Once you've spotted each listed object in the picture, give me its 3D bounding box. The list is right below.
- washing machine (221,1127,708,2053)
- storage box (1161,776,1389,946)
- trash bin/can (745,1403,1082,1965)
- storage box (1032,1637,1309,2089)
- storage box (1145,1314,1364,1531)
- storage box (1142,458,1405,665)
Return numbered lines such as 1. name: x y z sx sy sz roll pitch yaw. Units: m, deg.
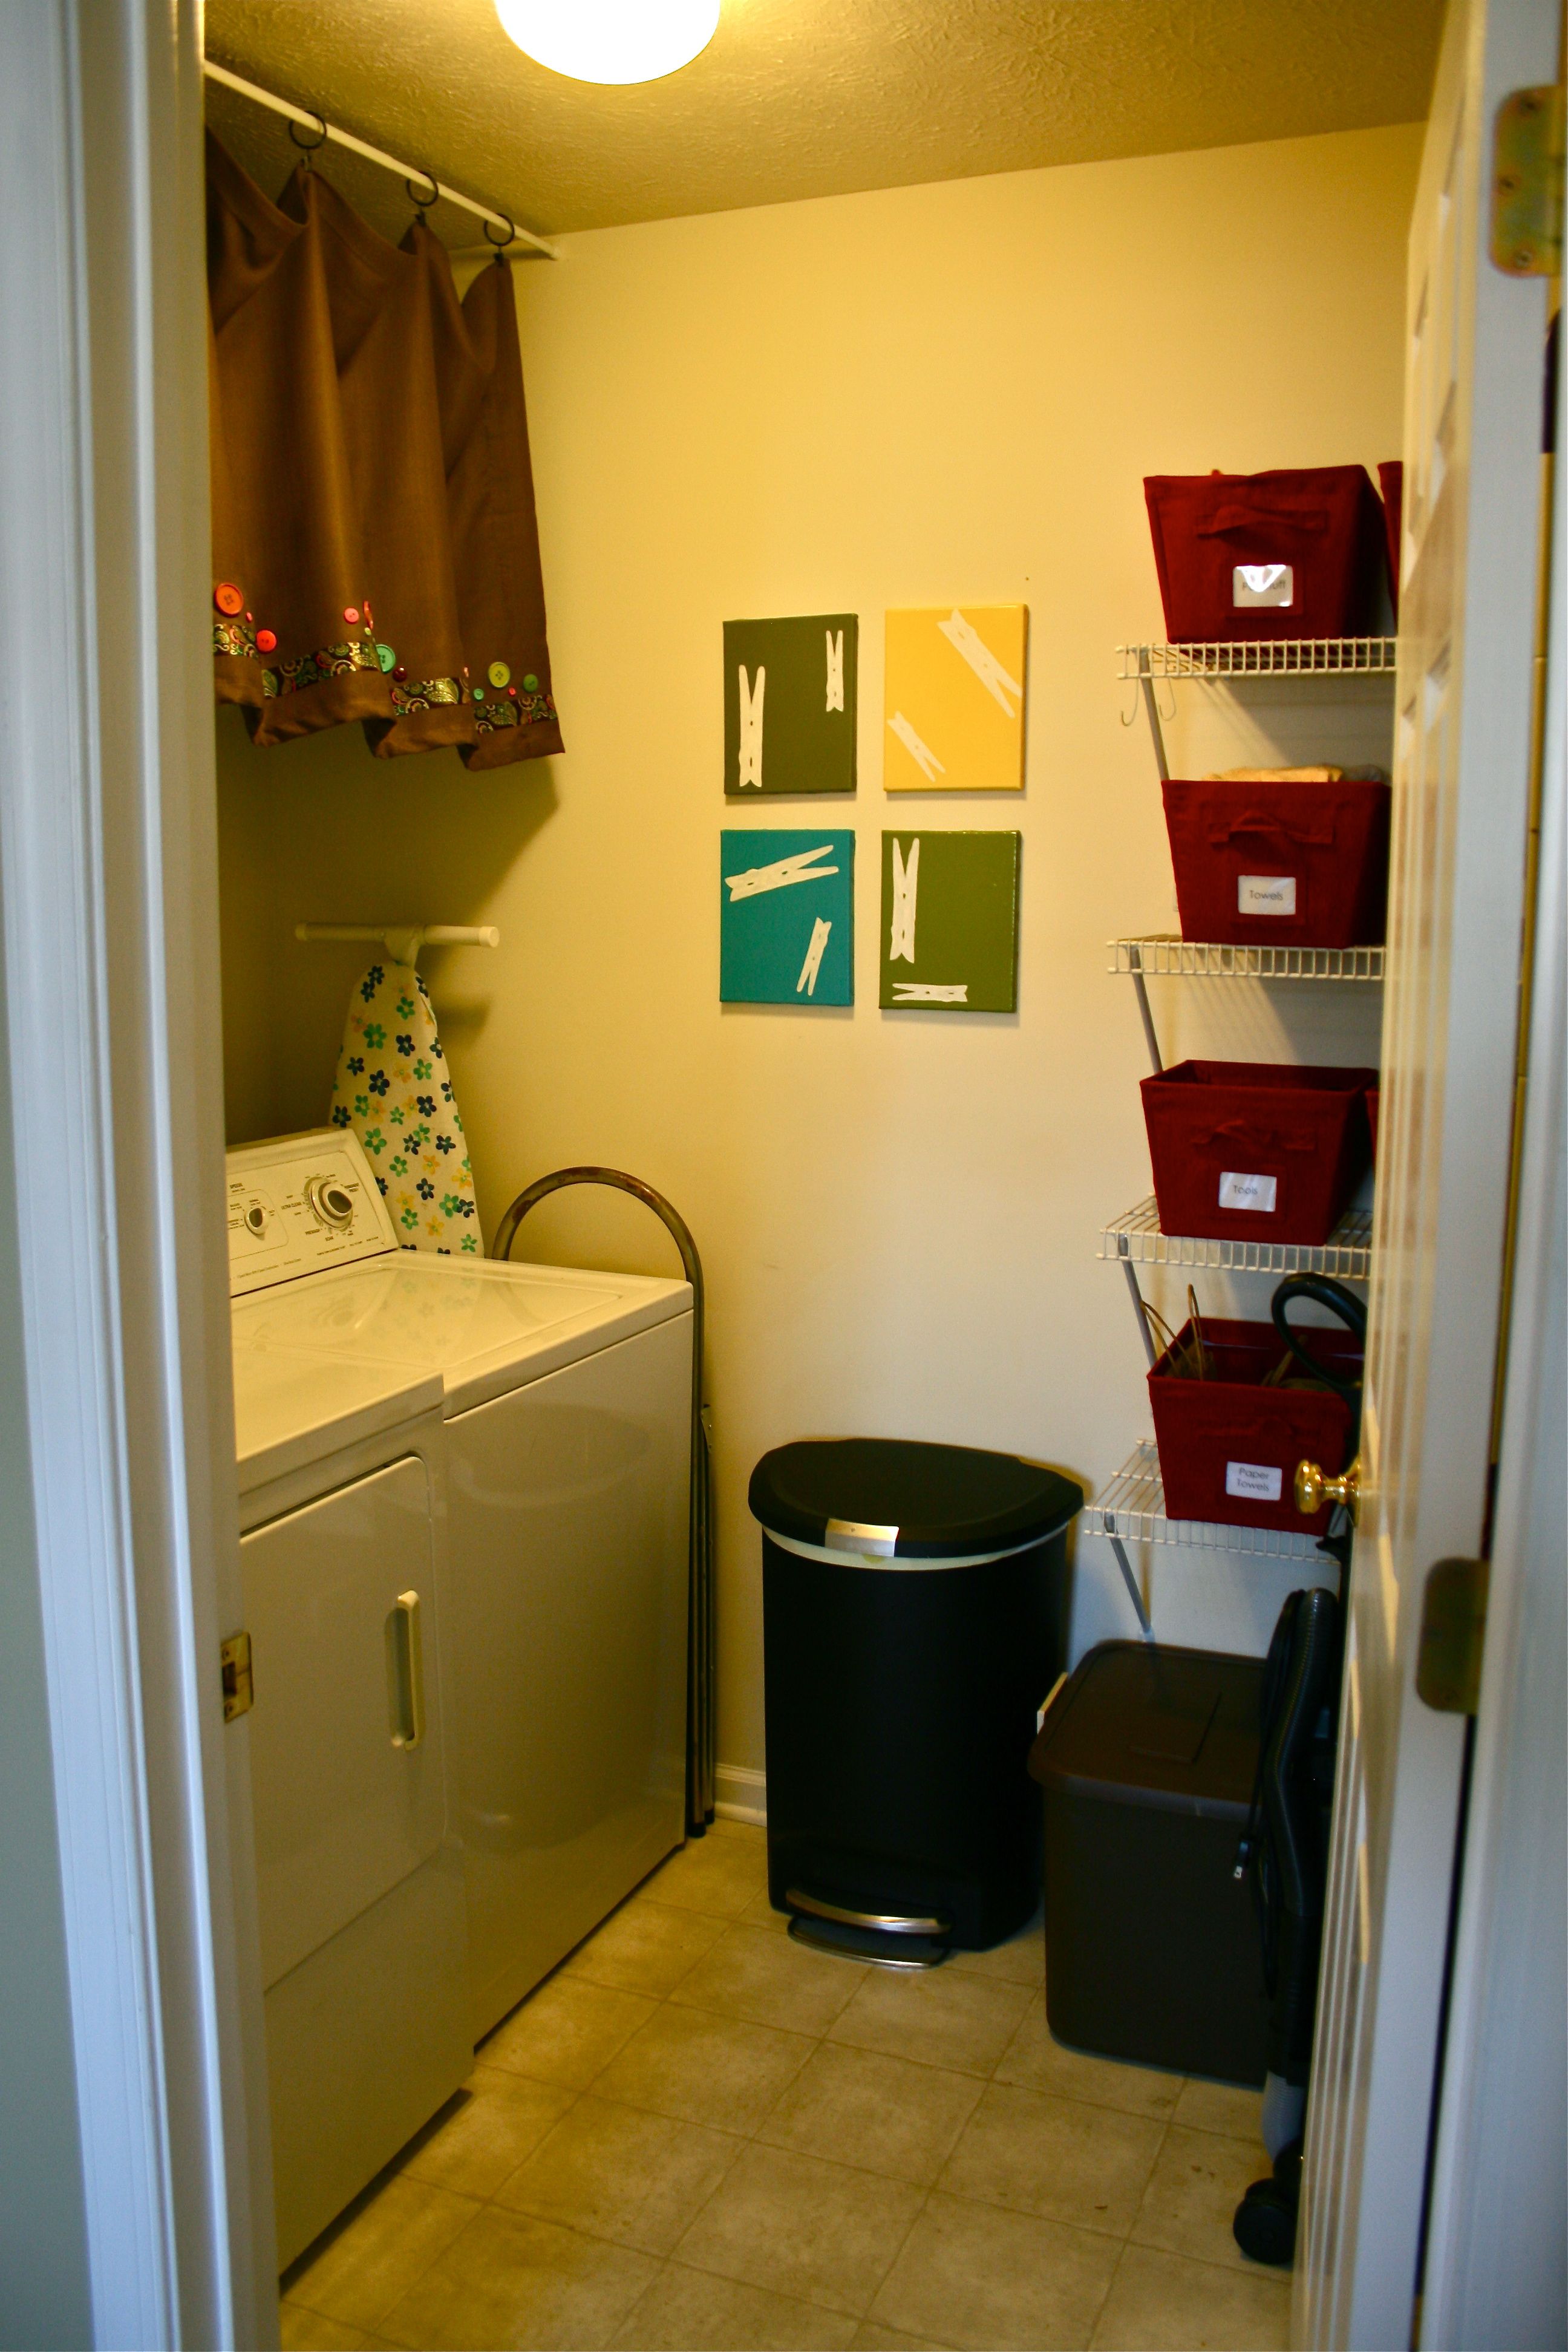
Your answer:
1. washing machine: -0.469 0.533 2.330 0.458 1.019 0.667 1 7 20
2. storage box: 0.541 -0.339 1.870 0.194 0.174 0.194 2 9 17
3. trash bin/can: 0.158 0.652 2.442 0.470 0.776 0.460 5 27 17
4. storage box: 0.457 0.875 2.176 0.277 0.405 0.397 1 6 13
5. storage box: 0.536 0.279 2.080 0.245 0.296 0.269 1 9 0
6. storage box: 0.544 -0.667 1.953 0.227 0.187 0.203 -1 12 10
